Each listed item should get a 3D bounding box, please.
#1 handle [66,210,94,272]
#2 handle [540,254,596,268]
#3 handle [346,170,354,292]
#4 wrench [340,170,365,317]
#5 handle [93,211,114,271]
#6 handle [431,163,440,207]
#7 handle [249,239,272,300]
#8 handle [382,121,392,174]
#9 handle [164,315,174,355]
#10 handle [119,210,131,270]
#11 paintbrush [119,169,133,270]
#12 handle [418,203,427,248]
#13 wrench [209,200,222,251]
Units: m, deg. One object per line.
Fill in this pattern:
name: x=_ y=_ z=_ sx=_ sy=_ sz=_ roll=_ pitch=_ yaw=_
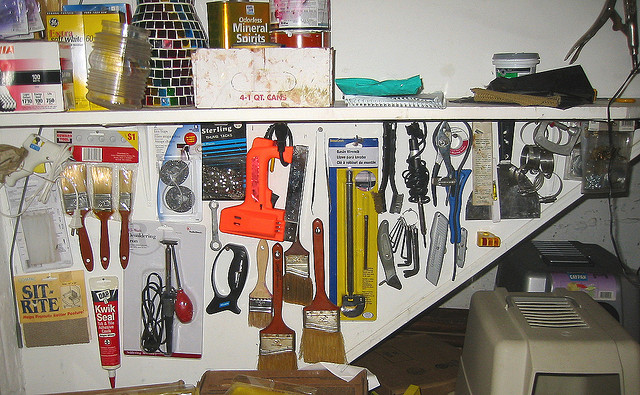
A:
handle: x=-0.872 y=0.152 z=2.020 sx=0.062 sy=0.241 sz=0.018 roll=-9 pitch=9 yaw=-2
handle: x=0.975 y=0.250 z=2.191 sx=0.198 sy=0.037 sz=0.082 roll=0 pitch=7 yaw=3
handle: x=0.112 y=0.126 z=2.051 sx=0.026 sy=0.458 sz=0.004 roll=-1 pitch=6 yaw=3
wrench: x=0.115 y=0.176 z=2.070 sx=0.109 sy=0.594 sz=0.043 roll=6 pitch=13 yaw=40
handle: x=-0.789 y=0.159 z=2.051 sx=0.044 sy=0.176 sz=0.078 roll=5 pitch=11 yaw=1
handle: x=0.422 y=-0.054 z=2.039 sx=0.013 sy=0.137 sz=0.029 roll=3 pitch=2 yaw=-21
handle: x=-0.221 y=0.265 z=2.077 sx=0.070 sy=0.217 sz=0.077 roll=3 pitch=15 yaw=-8
handle: x=0.245 y=-0.182 z=2.019 sx=0.034 sy=0.189 sz=0.005 roll=0 pitch=6 yaw=6
handle: x=-0.564 y=0.521 z=2.096 sx=0.035 sy=0.148 sz=0.006 roll=-1 pitch=6 yaw=1
handle: x=-0.722 y=0.141 z=2.058 sx=0.047 sy=0.244 sz=0.023 roll=1 pitch=3 yaw=-4
paintbrush: x=-0.711 y=0.080 z=2.043 sx=0.062 sy=0.370 sz=0.014 roll=0 pitch=6 yaw=12
handle: x=0.381 y=0.095 z=2.038 sx=0.019 sy=0.144 sz=0.016 roll=-3 pitch=5 yaw=1
wrench: x=-0.386 y=0.102 z=2.051 sx=0.041 sy=0.190 sz=0.008 roll=1 pitch=8 yaw=13
